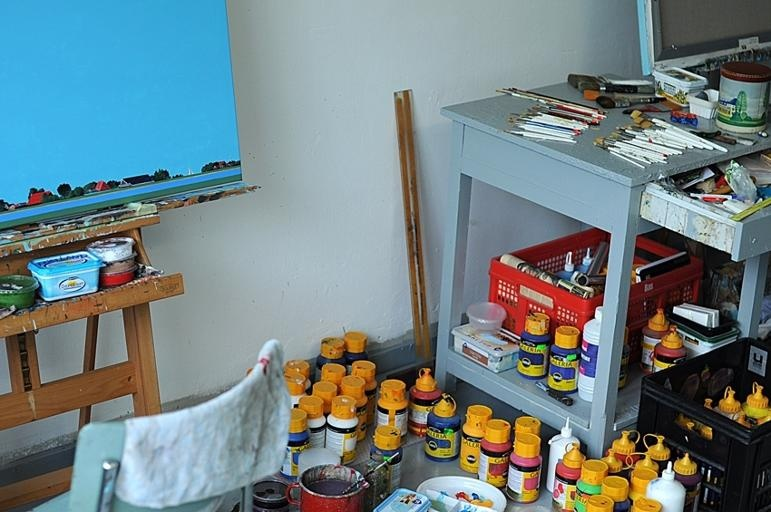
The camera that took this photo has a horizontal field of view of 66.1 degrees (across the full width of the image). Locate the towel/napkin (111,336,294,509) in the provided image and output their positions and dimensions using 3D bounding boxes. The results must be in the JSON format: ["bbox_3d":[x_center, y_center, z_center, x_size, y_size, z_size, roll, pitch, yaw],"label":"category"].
[{"bbox_3d":[-0.390,0.348,1.273,0.323,0.335,0.250,-18,36,-23],"label":"towel/napkin"}]

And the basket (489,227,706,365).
[{"bbox_3d":[0.806,0.130,2.441,0.587,0.322,0.762,-18,29,-34],"label":"basket"}]
